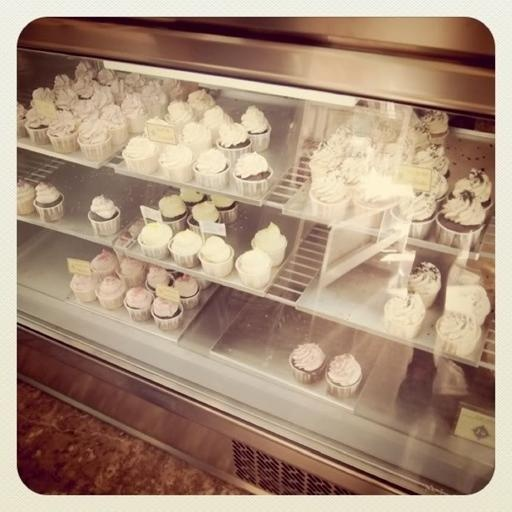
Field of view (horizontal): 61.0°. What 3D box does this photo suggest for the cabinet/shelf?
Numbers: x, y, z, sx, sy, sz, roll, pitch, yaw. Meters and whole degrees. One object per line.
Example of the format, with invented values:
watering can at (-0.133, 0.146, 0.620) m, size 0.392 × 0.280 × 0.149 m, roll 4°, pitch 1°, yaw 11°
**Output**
cabinet/shelf at (0.012, 0.018, 1.346) m, size 1.318 × 1.074 × 0.462 m, roll 23°, pitch 39°, yaw 26°
